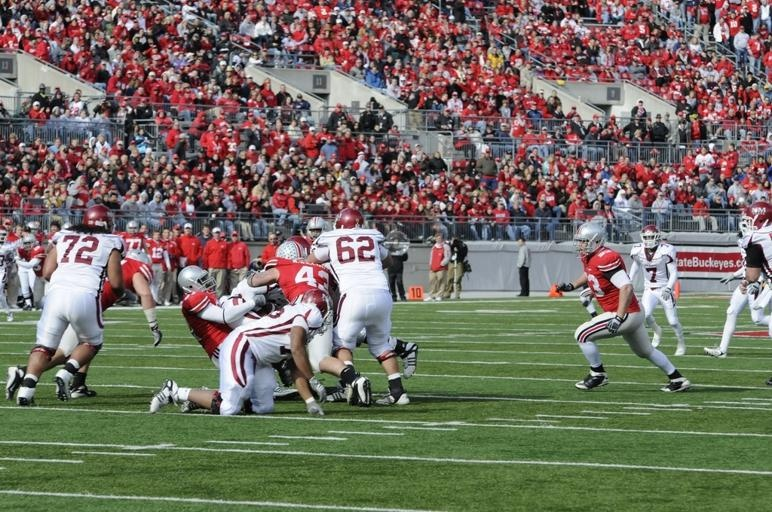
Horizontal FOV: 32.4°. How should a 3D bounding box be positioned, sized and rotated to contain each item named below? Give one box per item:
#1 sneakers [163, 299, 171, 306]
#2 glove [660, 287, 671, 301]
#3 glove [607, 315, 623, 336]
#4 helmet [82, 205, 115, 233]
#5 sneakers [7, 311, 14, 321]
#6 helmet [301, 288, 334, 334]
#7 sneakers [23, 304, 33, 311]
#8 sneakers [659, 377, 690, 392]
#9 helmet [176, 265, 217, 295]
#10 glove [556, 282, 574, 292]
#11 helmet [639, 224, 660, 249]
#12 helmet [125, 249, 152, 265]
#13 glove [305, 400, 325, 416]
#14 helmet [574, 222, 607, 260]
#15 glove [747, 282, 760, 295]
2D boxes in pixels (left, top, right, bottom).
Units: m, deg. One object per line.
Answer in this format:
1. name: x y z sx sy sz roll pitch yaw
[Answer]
1. sneakers: -4.720 0.994 28.722 0.170 0.112 0.470 -1 1 -6
2. glove: 4.560 0.611 21.413 0.153 0.192 0.062 9 -35 10
3. glove: 2.886 0.845 16.578 0.229 0.085 0.164 -44 14 9
4. helmet: -3.429 -0.420 15.983 0.448 0.383 0.319 -6 12 -36
5. sneakers: -6.917 1.119 24.455 0.119 0.146 0.345 0 -9 -15
6. helmet: -0.779 0.624 15.459 0.303 0.512 0.540 -1 1 15
7. sneakers: -7.254 1.019 26.783 0.221 0.148 0.125 9 -2 17
8. sneakers: 3.670 1.614 16.627 0.415 0.149 0.198 -11 -36 7
9. helmet: -2.312 0.277 16.168 0.398 0.261 0.309 -6 6 -3
10. glove: 2.501 0.392 18.388 0.172 0.136 0.411 -10 -10 25
11. helmet: 4.313 -0.308 21.711 0.296 0.324 0.400 -5 1 23
12. helmet: -3.833 0.009 20.490 0.297 0.209 0.273 5 18 24
13. glove: -0.804 1.723 15.283 0.215 0.206 0.372 -1 1 -3
14. helmet: 2.580 -0.202 17.013 0.442 0.409 0.364 -5 0 -5
15. glove: 5.360 0.452 19.282 0.079 0.227 0.230 20 -31 32
